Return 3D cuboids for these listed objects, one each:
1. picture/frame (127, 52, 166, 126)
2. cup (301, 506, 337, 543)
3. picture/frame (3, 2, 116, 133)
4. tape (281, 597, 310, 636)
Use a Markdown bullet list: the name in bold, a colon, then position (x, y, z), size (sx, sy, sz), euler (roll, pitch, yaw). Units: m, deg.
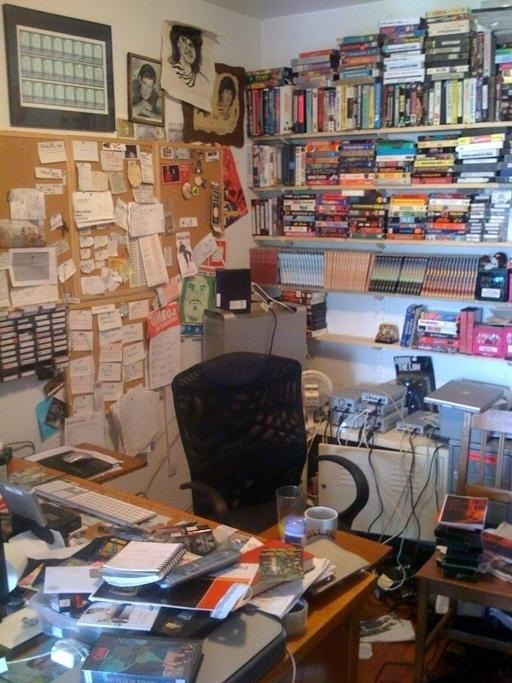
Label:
- **picture/frame**: position (-0.560, -1.258, 2.719), size (0.037, 0.312, 0.263), euler (4, 16, 28)
- **cup**: position (0.167, 0.485, 1.442), size (0.069, 0.076, 0.086), euler (0, 1, -4)
- **picture/frame**: position (-0.822, -1.137, 2.297), size (0.042, 0.467, 0.582), euler (5, 16, 29)
- **tape**: position (0.075, 0.529, 1.057), size (0.054, 0.039, 0.055), euler (7, 7, 42)
